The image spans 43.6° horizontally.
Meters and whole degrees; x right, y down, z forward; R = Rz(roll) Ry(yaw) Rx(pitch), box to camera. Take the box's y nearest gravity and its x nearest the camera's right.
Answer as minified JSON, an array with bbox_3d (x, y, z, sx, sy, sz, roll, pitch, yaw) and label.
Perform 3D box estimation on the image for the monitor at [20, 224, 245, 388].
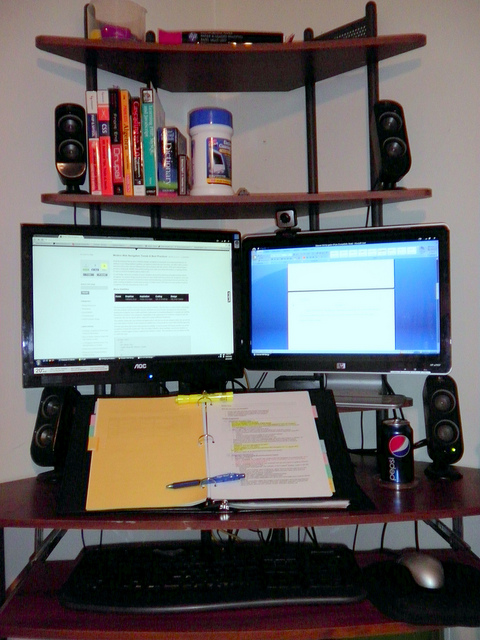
[{"bbox_3d":[-0.232,-0.034,1.375,0.519,0.394,0.044,-6,6,-18],"label":"monitor"}]

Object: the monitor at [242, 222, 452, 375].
[{"bbox_3d":[0.237,-0.043,1.398,0.479,0.333,0.037,-1,5,16],"label":"monitor"}]

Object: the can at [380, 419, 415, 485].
[{"bbox_3d":[0.318,0.261,1.213,0.053,0.121,0.080,0,-1,-26],"label":"can"}]

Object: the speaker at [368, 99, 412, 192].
[{"bbox_3d":[0.368,-0.437,1.480,0.094,0.248,0.265,-1,7,13],"label":"speaker"}]

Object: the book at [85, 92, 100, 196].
[{"bbox_3d":[-0.334,-0.403,1.371,0.025,0.228,0.024,-3,5,-10],"label":"book"}]

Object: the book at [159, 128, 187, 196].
[{"bbox_3d":[-0.159,-0.359,1.388,0.035,0.151,0.133,0,2,-2],"label":"book"}]

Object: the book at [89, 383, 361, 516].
[{"bbox_3d":[-0.044,0.248,1.189,0.535,0.177,0.252,-4,7,0],"label":"book"}]
